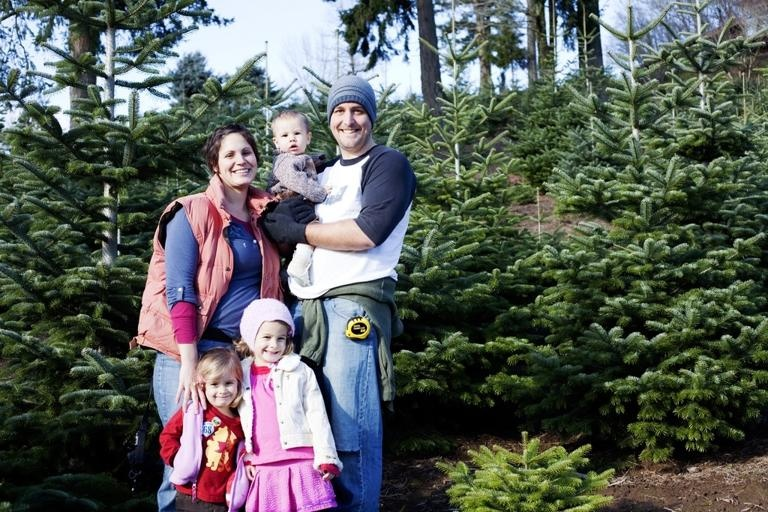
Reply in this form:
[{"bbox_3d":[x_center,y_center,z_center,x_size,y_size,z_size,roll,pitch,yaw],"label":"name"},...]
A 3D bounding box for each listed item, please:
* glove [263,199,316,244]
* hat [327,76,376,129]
[{"bbox_3d":[-0.825,-0.308,6.836,0.396,0.415,0.166,10,-16,7],"label":"glove"},{"bbox_3d":[-0.255,-1.362,6.883,0.551,0.511,0.589,1,2,2],"label":"hat"}]
